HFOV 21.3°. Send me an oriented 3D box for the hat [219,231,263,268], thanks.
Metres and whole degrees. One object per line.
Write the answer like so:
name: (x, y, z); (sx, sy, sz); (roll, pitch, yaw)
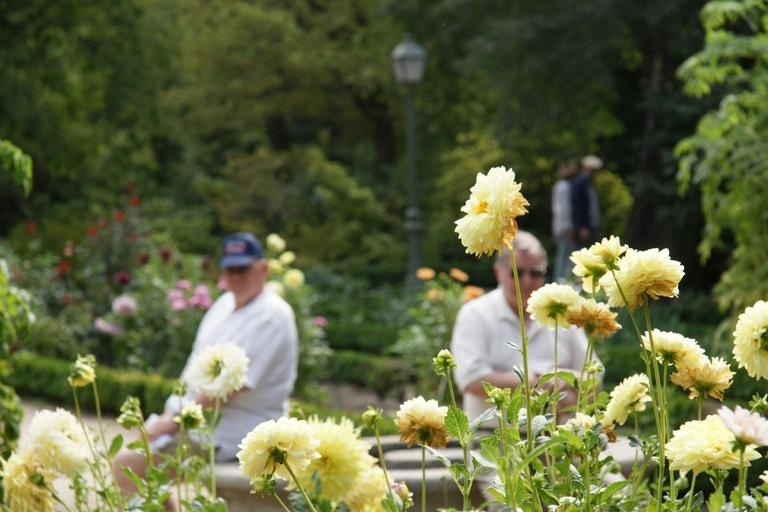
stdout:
hat: (-1.144, -0.050, 15.716); (0.311, 0.234, 0.461); (-4, 13, 9)
